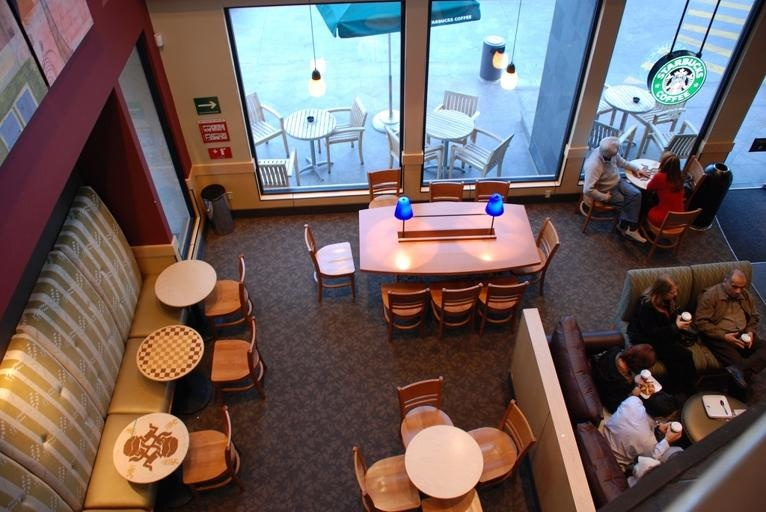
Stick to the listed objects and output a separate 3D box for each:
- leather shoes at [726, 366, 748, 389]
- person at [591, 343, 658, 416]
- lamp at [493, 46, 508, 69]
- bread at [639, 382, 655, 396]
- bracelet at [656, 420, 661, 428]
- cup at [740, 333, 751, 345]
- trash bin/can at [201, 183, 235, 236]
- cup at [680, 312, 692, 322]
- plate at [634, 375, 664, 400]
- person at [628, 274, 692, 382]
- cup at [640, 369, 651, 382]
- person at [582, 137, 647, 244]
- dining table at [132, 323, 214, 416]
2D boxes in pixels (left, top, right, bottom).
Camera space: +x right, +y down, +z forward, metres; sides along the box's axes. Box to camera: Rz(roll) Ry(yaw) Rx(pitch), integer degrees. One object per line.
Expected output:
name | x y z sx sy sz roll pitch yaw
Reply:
leather shoes | 4.529 1.540 6.525 0.141 0.144 0.303 -26 60 -11
person | 2.931 1.520 6.160 0.467 0.774 0.383 -6 65 5
lamp | 1.837 -3.062 7.938 0.246 0.238 0.305 5 40 9
bread | 3.143 1.583 6.052 0.144 0.043 0.167 -1 79 14
bracelet | 3.257 1.973 5.994 0.083 0.057 0.026 3 2 44
cup | 4.710 1.059 6.589 0.117 0.082 0.109 -2 40 1
trash bin/can | -2.820 -0.784 8.577 0.528 0.933 0.551 -7 48 -3
cup | 3.938 0.775 6.557 0.120 0.119 0.127 -4 74 12
plate | 3.152 1.540 6.025 0.270 0.113 0.296 26 97 13
person | 3.553 0.958 6.556 0.495 1.220 0.823 -30 43 -18
cup | 3.139 1.424 6.054 0.111 0.076 0.109 -27 29 17
person | 3.897 -1.162 8.426 0.881 1.711 0.955 -35 40 -13
dining table | -2.672 1.440 6.835 1.059 1.062 1.114 12 62 -3
